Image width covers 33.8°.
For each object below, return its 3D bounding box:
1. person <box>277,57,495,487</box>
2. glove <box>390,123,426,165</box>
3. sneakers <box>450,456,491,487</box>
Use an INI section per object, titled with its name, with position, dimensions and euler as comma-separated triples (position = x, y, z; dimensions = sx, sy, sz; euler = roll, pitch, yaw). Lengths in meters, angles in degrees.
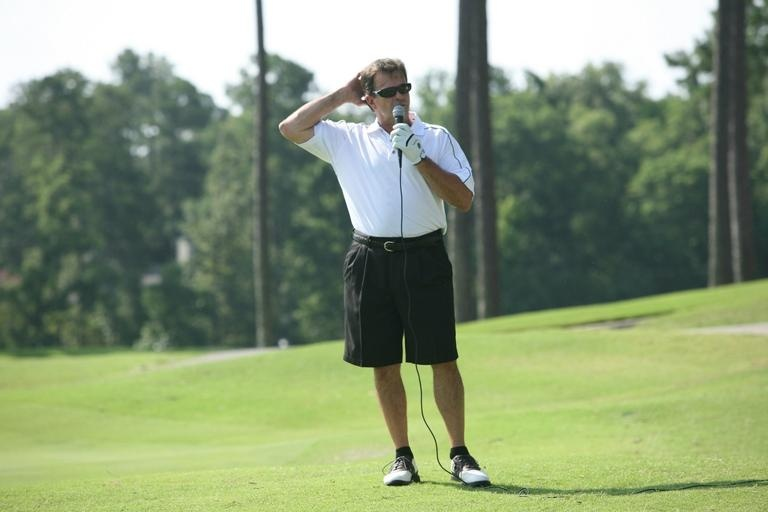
[person]
position = 0.095, 0.132, 8.685
dimensions = 1.105, 2.691, 0.382
euler = -7, -2, 19
[glove]
position = 0.164, -0.751, 8.541
dimensions = 0.170, 0.309, 0.125
euler = -29, 5, 15
[sneakers]
position = 0.585, 1.459, 8.565
dimensions = 0.134, 0.139, 0.287
euler = 1, -5, -32
